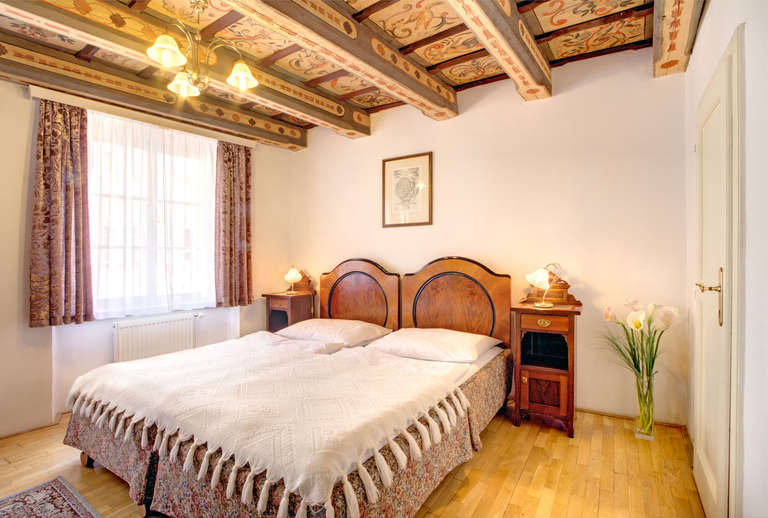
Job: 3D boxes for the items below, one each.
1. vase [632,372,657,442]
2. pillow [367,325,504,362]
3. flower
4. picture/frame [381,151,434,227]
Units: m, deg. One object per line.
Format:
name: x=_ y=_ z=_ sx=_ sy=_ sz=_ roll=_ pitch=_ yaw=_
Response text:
vase: x=2.344 y=1.254 z=4.439 sx=0.173 sy=0.527 sz=0.408 roll=6 pitch=14 yaw=29
pillow: x=0.436 y=0.798 z=4.688 sx=0.772 sy=0.157 sz=0.482 roll=1 pitch=6 yaw=40
flower: x=2.384 y=0.988 z=4.477 sx=0.609 sy=1.106 sz=0.619 roll=5 pitch=-7 yaw=-10
picture/frame: x=0.287 y=-0.779 z=5.589 sx=0.892 sy=1.088 sz=0.078 roll=-2 pitch=-3 yaw=29
